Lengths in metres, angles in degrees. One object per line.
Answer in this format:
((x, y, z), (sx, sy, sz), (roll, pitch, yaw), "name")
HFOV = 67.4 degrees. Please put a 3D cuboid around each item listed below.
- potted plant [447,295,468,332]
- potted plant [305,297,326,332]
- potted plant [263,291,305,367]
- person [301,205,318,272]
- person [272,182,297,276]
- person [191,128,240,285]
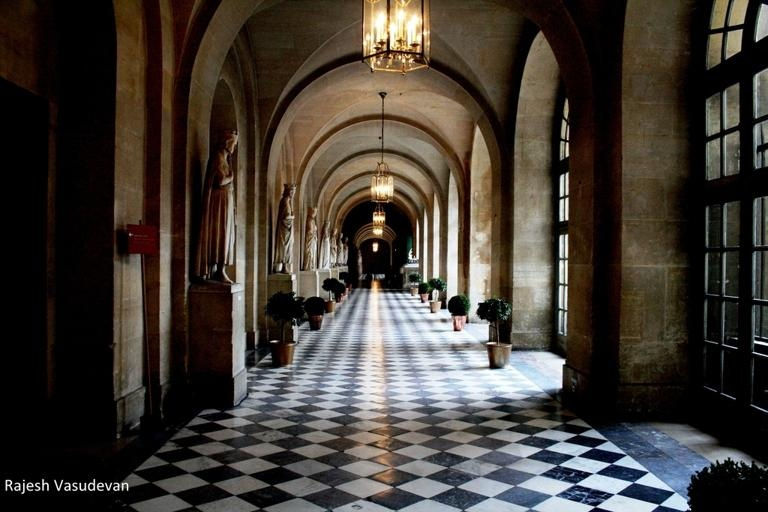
((2.049, 1.500, 15.949), (0.514, 1.157, 1.806), (1, 7, 6), "potted plant")
((-1.789, 1.405, 14.877), (0.580, 0.804, 0.561), (2, -6, -19), "potted plant")
((-2.058, 1.441, 11.772), (0.902, 1.420, 0.748), (3, -7, -18), "potted plant")
((-2.591, -0.630, 19.839), (0.386, 2.114, 0.719), (3, 7, 19), "person")
((-2.572, -0.713, 14.511), (0.493, 2.187, 0.716), (0, 7, -3), "person")
((-2.765, -0.828, 9.388), (0.762, 2.427, 0.456), (-3, 8, -24), "person")
